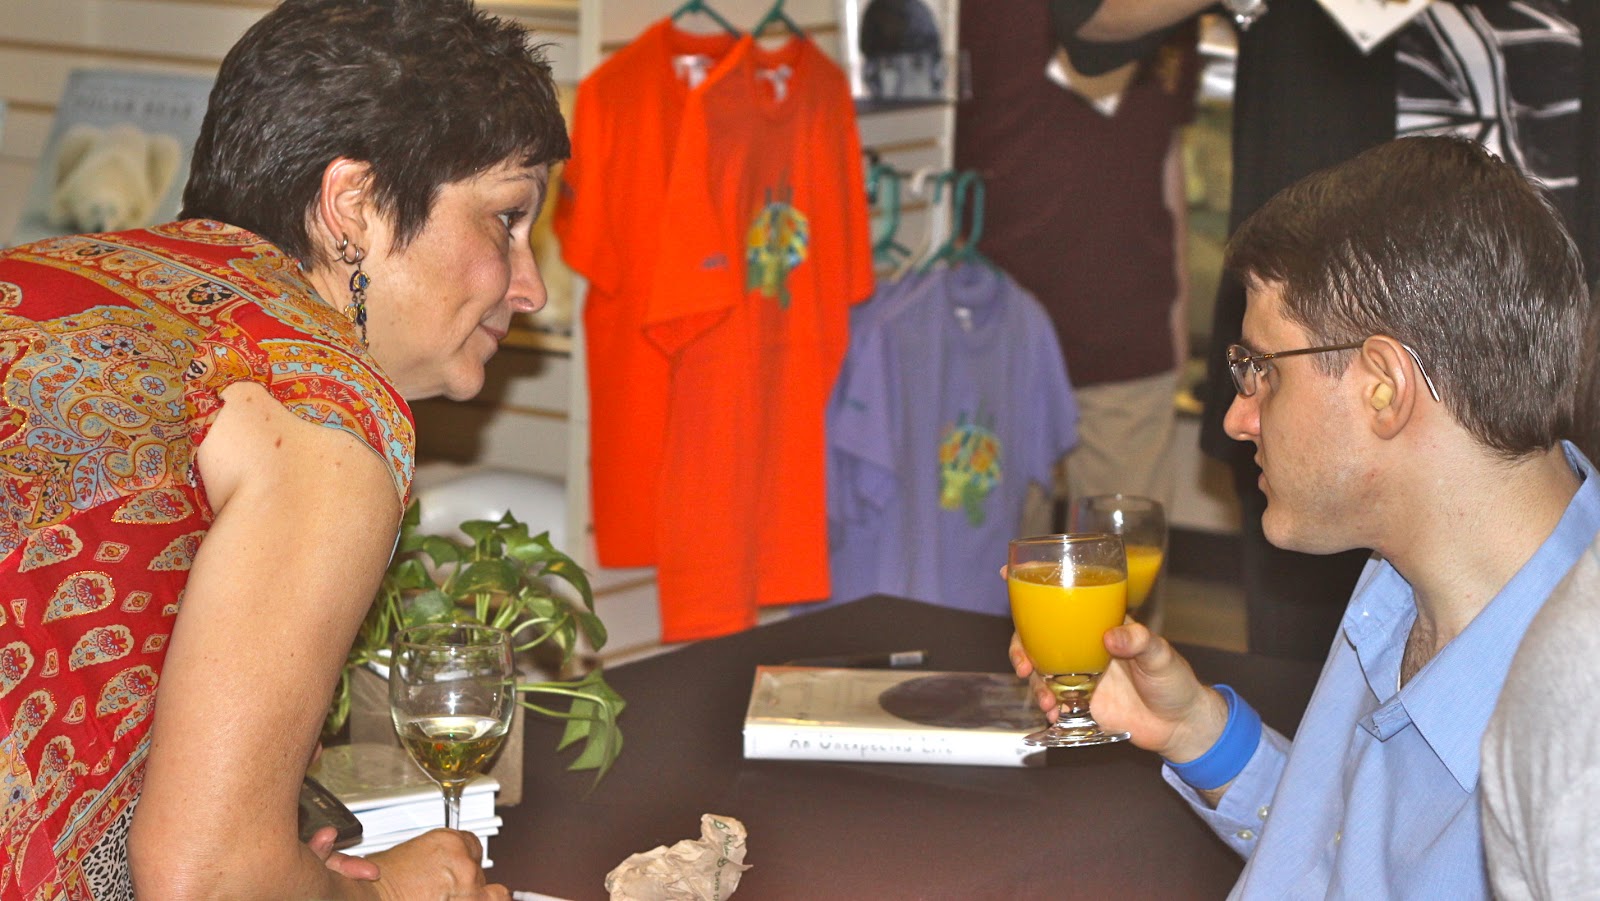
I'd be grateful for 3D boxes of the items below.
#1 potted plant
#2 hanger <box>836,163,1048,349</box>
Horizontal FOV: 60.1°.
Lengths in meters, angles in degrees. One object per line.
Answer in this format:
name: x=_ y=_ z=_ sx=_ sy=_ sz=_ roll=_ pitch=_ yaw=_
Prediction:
potted plant: x=-0.402 y=0.233 z=1.911 sx=0.389 sy=0.360 sz=0.375 roll=-3 pitch=6 yaw=-38
hanger: x=0.301 y=-0.452 z=3.073 sx=0.326 sy=0.407 sz=0.128 roll=3 pitch=1 yaw=-4
